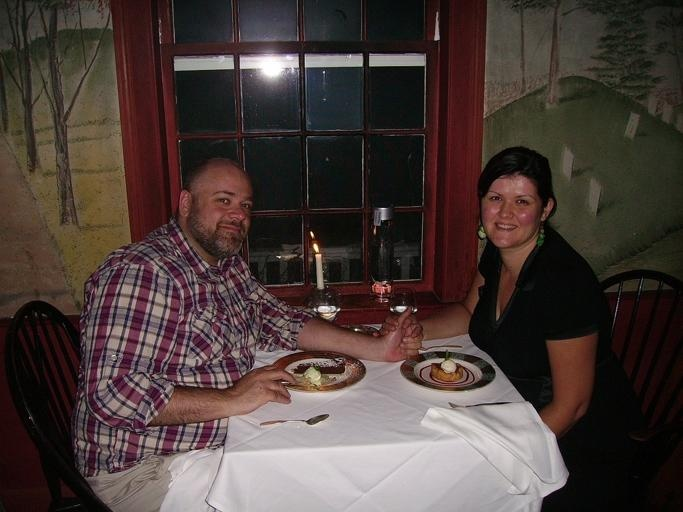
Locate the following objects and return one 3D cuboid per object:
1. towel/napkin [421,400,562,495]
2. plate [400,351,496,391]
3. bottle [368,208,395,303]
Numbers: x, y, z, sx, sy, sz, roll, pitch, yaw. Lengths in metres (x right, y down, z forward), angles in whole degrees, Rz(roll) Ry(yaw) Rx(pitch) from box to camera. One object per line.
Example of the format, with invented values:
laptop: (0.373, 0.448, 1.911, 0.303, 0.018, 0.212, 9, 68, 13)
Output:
towel/napkin: (0.501, 0.647, 1.800, 0.459, 0.198, 0.552, -4, 5, 1)
plate: (0.404, 0.437, 1.930, 0.351, 0.039, 0.347, -1, 12, 3)
bottle: (0.236, -0.003, 2.869, 0.135, 0.499, 0.133, 0, 5, 0)
